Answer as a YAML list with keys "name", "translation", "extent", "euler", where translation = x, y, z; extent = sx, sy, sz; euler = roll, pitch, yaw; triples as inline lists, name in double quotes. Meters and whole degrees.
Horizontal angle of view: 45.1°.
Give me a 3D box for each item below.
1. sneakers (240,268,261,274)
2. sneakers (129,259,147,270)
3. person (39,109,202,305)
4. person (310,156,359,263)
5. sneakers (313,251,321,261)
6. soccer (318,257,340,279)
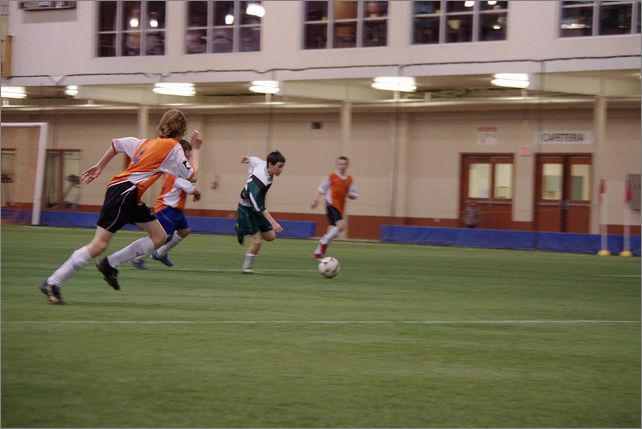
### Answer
- name: "sneakers"
  translation: [-1.117, 0.883, 11.949]
  extent: [0.237, 0.098, 0.081]
  euler: [3, 3, -11]
- name: "sneakers"
  translation: [-2.790, 0.768, 11.865]
  extent: [0.307, 0.122, 0.100]
  euler: [19, 17, -27]
- name: "person"
  translation: [-2.312, -0.080, 9.104]
  extent: [1.669, 2.313, 0.852]
  euler: [0, 9, -18]
- name: "person"
  translation: [0.241, -0.106, 14.424]
  extent: [0.814, 1.966, 1.182]
  euler: [3, 8, 0]
- name: "sneakers"
  translation: [-0.068, 0.768, 14.276]
  extent: [0.131, 0.135, 0.161]
  euler: [4, -9, -29]
- name: "soccer"
  translation: [0.113, 0.832, 11.828]
  extent: [0.280, 0.301, 0.289]
  euler: [3, 8, -2]
